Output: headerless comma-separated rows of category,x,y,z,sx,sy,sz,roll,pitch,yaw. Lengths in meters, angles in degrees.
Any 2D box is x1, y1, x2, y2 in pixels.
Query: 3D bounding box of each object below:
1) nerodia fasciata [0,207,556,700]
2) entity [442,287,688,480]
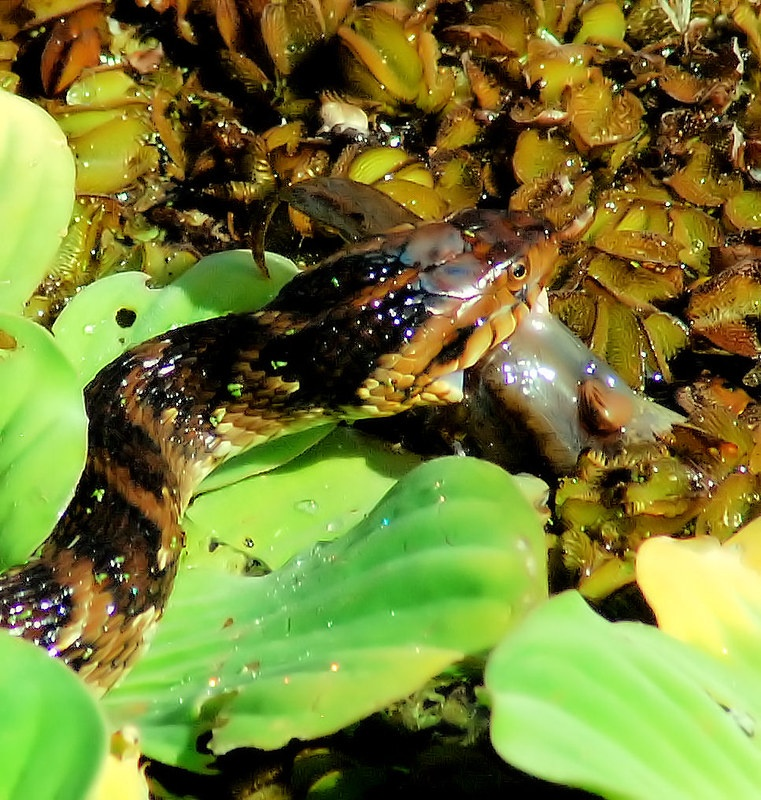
nerodia fasciata,-0.017,0.010,1.488,1.064,0.250,0.315,-26,60,-9
entity,0.223,-0.001,1.387,0.239,0.083,0.248,41,75,3
